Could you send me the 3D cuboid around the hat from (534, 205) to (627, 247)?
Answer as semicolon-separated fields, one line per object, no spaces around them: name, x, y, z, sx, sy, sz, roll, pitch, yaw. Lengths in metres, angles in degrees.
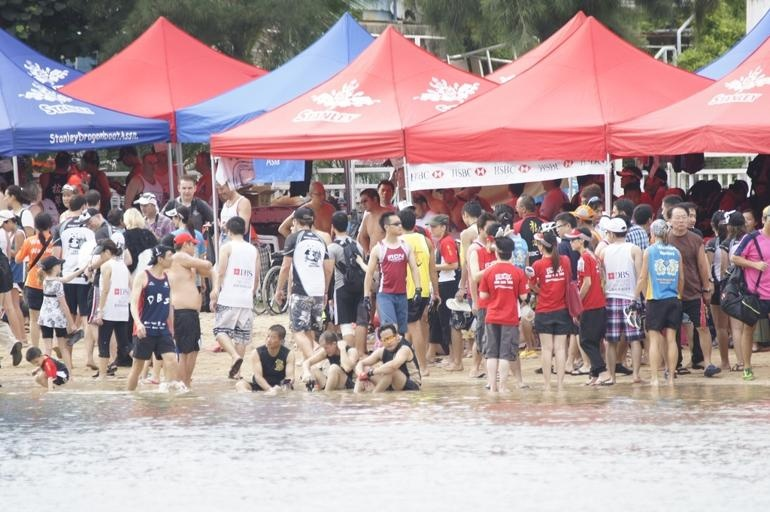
hat;2.919;-0.481;22.012;0.971;0.516;0.584;29;2;-8

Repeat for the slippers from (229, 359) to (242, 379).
slippers;-2.307;1.766;21.905;0.112;0.312;0.123;18;24;-21

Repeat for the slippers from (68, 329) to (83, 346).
slippers;-4.874;1.298;22.380;0.136;0.130;0.348;-25;-9;-35

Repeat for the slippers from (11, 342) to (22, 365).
slippers;-5.927;1.574;23.020;0.167;0.465;0.191;-6;32;-29

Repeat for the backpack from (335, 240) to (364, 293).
backpack;-0.568;0.186;22.310;0.443;0.818;0.317;-1;13;-3
